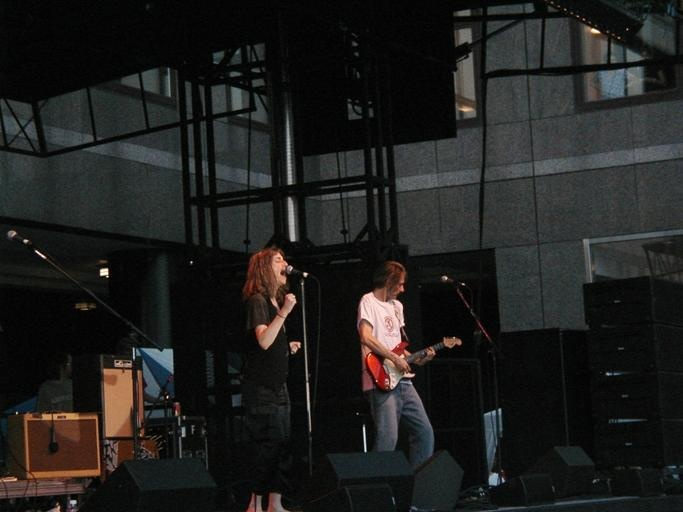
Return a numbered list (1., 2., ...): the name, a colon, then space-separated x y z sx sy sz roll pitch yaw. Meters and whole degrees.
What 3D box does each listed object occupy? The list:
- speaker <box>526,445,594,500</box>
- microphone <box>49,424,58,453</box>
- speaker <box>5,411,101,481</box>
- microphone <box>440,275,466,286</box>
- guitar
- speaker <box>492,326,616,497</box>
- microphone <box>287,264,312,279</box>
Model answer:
1. speaker: 1.805 1.713 7.439 0.407 0.328 0.417 2 -10 -20
2. microphone: -2.482 1.566 8.016 0.069 0.277 0.060 -11 -9 34
3. speaker: -2.552 1.545 8.278 0.967 0.716 0.548 3 -5 -29
4. microphone: 1.321 0.294 10.960 0.366 0.110 0.103 2 30 47
5. guitar: 0.587 0.786 7.345 0.881 0.307 0.114 -29 -5 31
6. speaker: 1.817 1.538 8.407 1.135 1.635 1.148 4 -3 43
7. microphone: -0.394 0.143 7.645 0.103 0.069 0.300 9 4 -36
